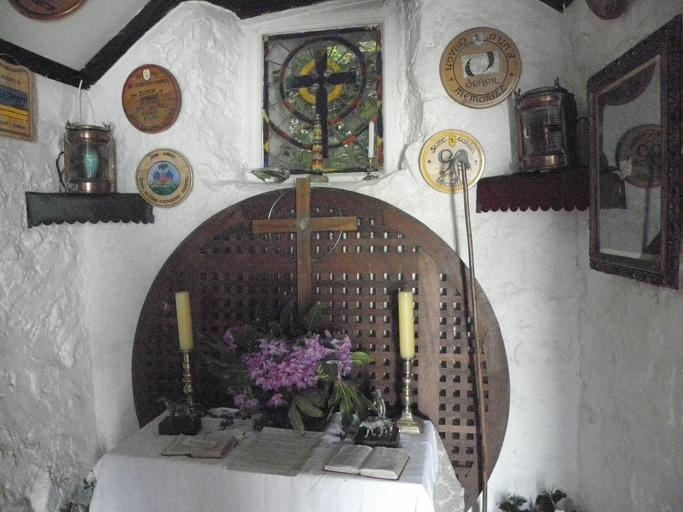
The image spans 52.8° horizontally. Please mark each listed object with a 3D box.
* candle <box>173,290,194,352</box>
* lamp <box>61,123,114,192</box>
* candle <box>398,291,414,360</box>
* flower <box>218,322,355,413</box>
[{"bbox_3d":[-0.762,0.314,3.325,0.077,0.302,0.141,1,-9,-10],"label":"candle"},{"bbox_3d":[-1.311,-0.505,3.543,0.291,0.385,0.223,3,-9,-21],"label":"lamp"},{"bbox_3d":[0.306,0.327,3.271,0.072,0.326,0.158,-1,-9,4],"label":"candle"},{"bbox_3d":[-0.281,0.427,3.207,0.427,0.345,0.470,-2,4,2],"label":"flower"}]
